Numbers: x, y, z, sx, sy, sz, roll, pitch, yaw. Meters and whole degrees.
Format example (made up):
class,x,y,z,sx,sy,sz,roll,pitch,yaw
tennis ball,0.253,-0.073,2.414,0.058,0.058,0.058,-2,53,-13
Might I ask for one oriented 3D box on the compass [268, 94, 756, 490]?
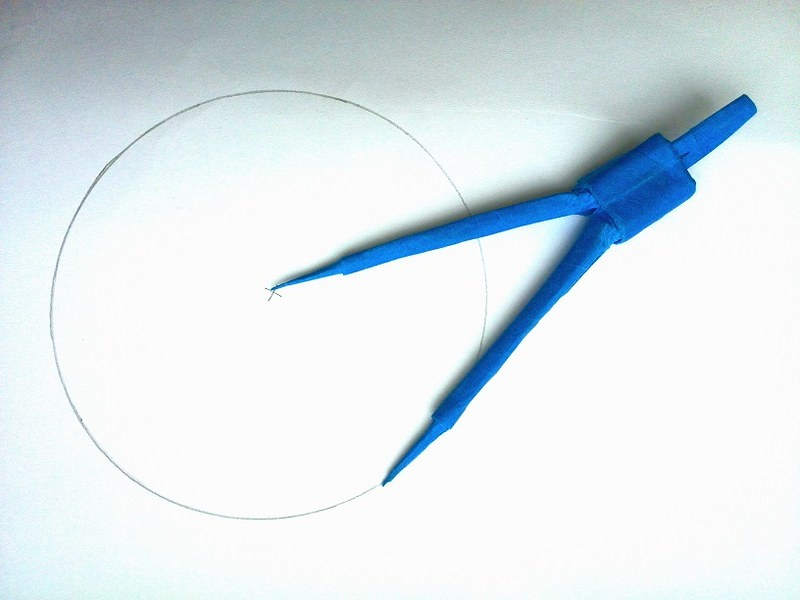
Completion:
class,x,y,z,sx,sy,sz,roll,pitch,yaw
compass,0.445,-0.252,2.854,1.461,0.760,0.583,-32,-63,21
